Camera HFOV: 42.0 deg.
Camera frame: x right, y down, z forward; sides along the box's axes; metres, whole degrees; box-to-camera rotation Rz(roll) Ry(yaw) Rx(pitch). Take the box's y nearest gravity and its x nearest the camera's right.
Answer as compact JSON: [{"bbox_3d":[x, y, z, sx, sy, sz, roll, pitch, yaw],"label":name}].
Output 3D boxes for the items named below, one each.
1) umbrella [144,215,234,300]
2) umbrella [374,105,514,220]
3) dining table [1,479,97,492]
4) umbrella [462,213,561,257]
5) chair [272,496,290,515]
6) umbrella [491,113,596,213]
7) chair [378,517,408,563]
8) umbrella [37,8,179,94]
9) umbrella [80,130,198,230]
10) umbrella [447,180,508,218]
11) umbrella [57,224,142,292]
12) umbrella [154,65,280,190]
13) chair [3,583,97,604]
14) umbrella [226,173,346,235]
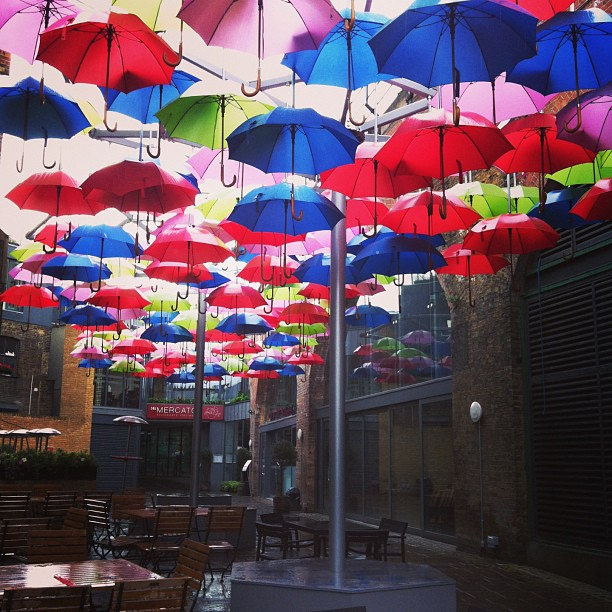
[{"bbox_3d":[-1.471,-0.475,10.035,0.902,0.741,0.916,9,-10,-17],"label":"umbrella"},{"bbox_3d":[1.146,-1.152,6.835,1.037,0.844,0.998,5,31,18],"label":"umbrella"},{"bbox_3d":[-6.038,4.144,18.480,1.643,0.388,1.715,-4,-12,10],"label":"dining table"},{"bbox_3d":[2.212,-0.783,8.613,0.916,0.344,0.893,7,25,34],"label":"umbrella"},{"bbox_3d":[-0.432,3.254,13.045,0.264,0.271,0.677,-4,-12,12],"label":"chair"},{"bbox_3d":[2.214,-1.301,7.590,1.028,0.887,1.032,-4,15,-8],"label":"umbrella"},{"bbox_3d":[1.112,3.024,10.383,0.405,0.487,0.342,16,-28,-4],"label":"chair"},{"bbox_3d":[-1.533,-1.994,6.157,1.077,0.453,0.672,-1,-12,-3],"label":"umbrella"},{"bbox_3d":[-1.698,-1.307,8.133,1.190,1.032,1.137,5,17,5],"label":"umbrella"},{"bbox_3d":[1.971,-1.314,9.265,0.545,0.170,0.543,-3,-16,36],"label":"umbrella"},{"bbox_3d":[-2.614,-0.690,10.458,1.035,0.799,1.011,-7,-18,21],"label":"umbrella"},{"bbox_3d":[-0.884,-1.927,8.122,1.246,1.068,1.187,-3,-28,6],"label":"umbrella"},{"bbox_3d":[-1.786,2.005,5.529,0.598,0.142,0.189,5,-13,-30],"label":"chair"},{"bbox_3d":[-0.180,-1.043,8.059,1.023,0.450,1.050,-1,-11,-4],"label":"umbrella"}]
